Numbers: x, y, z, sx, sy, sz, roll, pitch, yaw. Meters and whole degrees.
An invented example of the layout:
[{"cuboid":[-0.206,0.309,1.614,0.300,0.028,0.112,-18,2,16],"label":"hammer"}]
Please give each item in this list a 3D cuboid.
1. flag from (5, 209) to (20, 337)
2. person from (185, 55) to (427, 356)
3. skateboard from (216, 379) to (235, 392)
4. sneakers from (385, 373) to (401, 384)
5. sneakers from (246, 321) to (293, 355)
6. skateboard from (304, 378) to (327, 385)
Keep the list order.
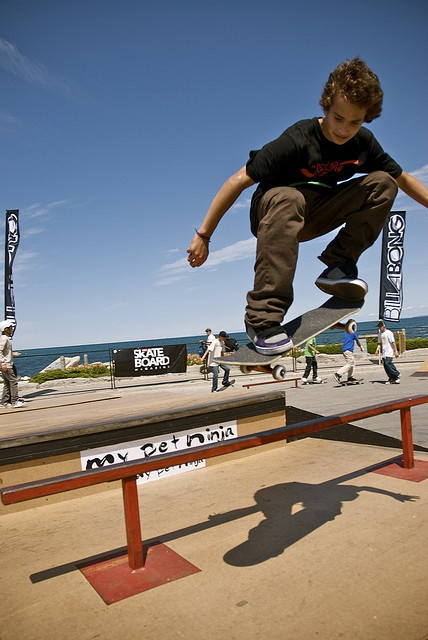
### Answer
[{"cuboid":[-6.613,-1.866,13.335,0.483,3.985,0.940,-3,-7,-24],"label":"flag"},{"cuboid":[0.519,-0.501,2.015,1.005,1.287,0.823,-2,-7,-30],"label":"person"},{"cuboid":[0.387,1.942,12.417,0.355,0.443,1.065,3,-1,17],"label":"skateboard"},{"cuboid":[4.807,1.574,10.916,0.185,0.201,0.536,-15,8,-37],"label":"sneakers"},{"cuboid":[0.238,0.074,1.737,0.093,0.096,0.245,-24,16,-12],"label":"sneakers"},{"cuboid":[3.055,1.801,12.136,0.259,0.294,0.774,-1,-5,-42],"label":"skateboard"}]
